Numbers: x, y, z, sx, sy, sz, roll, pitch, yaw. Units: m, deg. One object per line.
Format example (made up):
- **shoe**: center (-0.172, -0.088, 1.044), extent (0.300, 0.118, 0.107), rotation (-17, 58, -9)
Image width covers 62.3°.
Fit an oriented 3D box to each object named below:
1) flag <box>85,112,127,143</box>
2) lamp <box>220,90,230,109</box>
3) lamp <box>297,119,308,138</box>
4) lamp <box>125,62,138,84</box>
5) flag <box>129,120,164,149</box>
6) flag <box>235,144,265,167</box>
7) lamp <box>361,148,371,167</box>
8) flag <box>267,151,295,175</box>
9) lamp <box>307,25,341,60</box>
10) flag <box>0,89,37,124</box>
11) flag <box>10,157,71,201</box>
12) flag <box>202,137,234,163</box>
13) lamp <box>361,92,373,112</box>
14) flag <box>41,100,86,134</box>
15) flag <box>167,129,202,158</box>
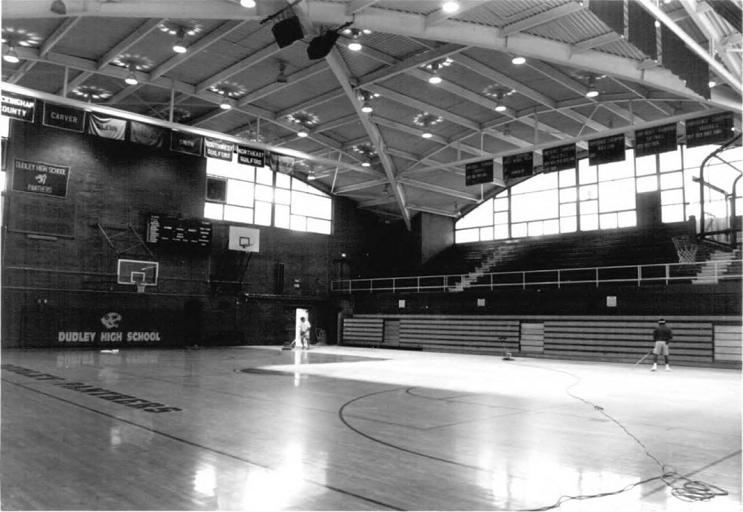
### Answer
- **flag**: center (-10.414, -5.122, 24.166), extent (1.301, 0.811, 0.123), rotation (6, -13, -36)
- **lamp**: center (-5.782, -6.226, 24.513), extent (0.402, 0.721, 0.758), rotation (1, 1, -15)
- **lamp**: center (-3.028, -5.727, 27.535), extent (0.692, 0.659, 0.737), rotation (2, -2, 8)
- **lamp**: center (-8.774, -6.620, 22.639), extent (0.400, 0.708, 1.379), rotation (1, 0, -20)
- **flag**: center (-8.965, -4.952, 24.629), extent (0.071, 0.903, 1.657), rotation (-13, -12, 34)
- **flag**: center (-5.280, -4.463, 27.059), extent (1.798, 1.100, 0.233), rotation (2, -8, -33)
- **lamp**: center (-0.263, -4.824, 30.361), extent (0.644, 0.665, 0.664), rotation (0, -29, -1)
- **flag**: center (-4.269, -4.488, 29.150), extent (1.151, 0.650, 0.147), rotation (7, -13, -38)
- **lamp**: center (-1.317, -5.697, 16.326), extent (0.671, 0.800, 0.742), rotation (1, 1, -13)
- **flag**: center (-12.584, -5.420, 22.014), extent (0.958, 1.116, 0.722), rotation (1, 1, -28)
- **flag**: center (-13.594, -3.165, 25.155), extent (0.102, 1.375, 2.205), rotation (-2, -4, 43)
- **flag**: center (-6.544, -4.630, 26.376), extent (1.554, 0.938, 0.057), rotation (6, -13, -41)
- **lamp**: center (-0.215, -6.009, 24.058), extent (0.376, 0.578, 0.548), rotation (1, 1, -2)
- **flag**: center (-11.432, -5.237, 22.889), extent (2.019, 1.262, 0.073), rotation (4, -11, -38)
- **flag**: center (-7.785, -4.764, 25.712), extent (1.204, 0.717, 0.074), rotation (7, -10, -39)
